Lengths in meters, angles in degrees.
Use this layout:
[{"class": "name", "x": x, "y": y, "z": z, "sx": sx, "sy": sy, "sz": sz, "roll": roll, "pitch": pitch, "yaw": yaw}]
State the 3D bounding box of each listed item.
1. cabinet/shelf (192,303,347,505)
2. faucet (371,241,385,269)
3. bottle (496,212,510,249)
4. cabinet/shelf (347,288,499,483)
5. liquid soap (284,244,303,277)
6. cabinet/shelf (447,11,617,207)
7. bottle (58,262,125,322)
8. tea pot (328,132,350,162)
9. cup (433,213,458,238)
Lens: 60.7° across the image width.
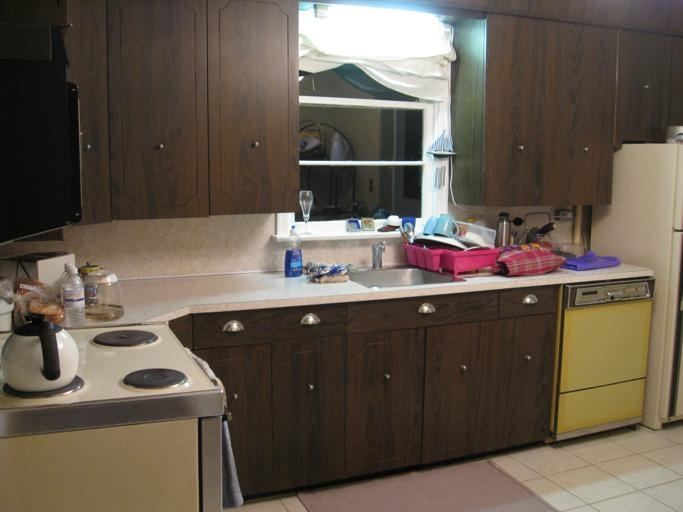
[{"class": "cabinet/shelf", "x": -0.382, "y": 0.685, "z": 3.201, "sx": 0.877, "sy": 1.119, "sz": 0.655, "roll": -6, "pitch": 20, "yaw": -21}, {"class": "faucet", "x": 0.231, "y": -0.010, "z": 3.635, "sx": 0.084, "sy": 0.162, "sz": 0.163, "roll": 1, "pitch": 12, "yaw": 3}, {"class": "bottle", "x": 1.047, "y": -0.168, "z": 3.775, "sx": 0.097, "sy": 0.224, "sz": 0.365, "roll": 4, "pitch": 13, "yaw": 16}, {"class": "cabinet/shelf", "x": 0.391, "y": 0.662, "z": 3.410, "sx": 0.969, "sy": 0.924, "sz": 0.516, "roll": -3, "pitch": 7, "yaw": -17}, {"class": "liquid soap", "x": -0.277, "y": 0.023, "z": 3.370, "sx": 0.109, "sy": 0.174, "sz": 0.158, "roll": 0, "pitch": 12, "yaw": -5}, {"class": "cabinet/shelf", "x": 1.156, "y": -0.939, "z": 3.587, "sx": 1.149, "sy": 1.327, "sz": 0.573, "roll": 0, "pitch": 6, "yaw": -11}, {"class": "bottle", "x": -1.083, "y": 0.158, "z": 2.539, "sx": 0.230, "sy": 0.224, "sz": 0.259, "roll": -6, "pitch": 14, "yaw": -30}, {"class": "tea pot", "x": -0.023, "y": -0.673, "z": 3.586, "sx": 0.086, "sy": 0.158, "sz": 0.161, "roll": 8, "pitch": 11, "yaw": 37}, {"class": "cup", "x": 0.641, "y": -0.181, "z": 3.610, "sx": 0.169, "sy": 0.155, "sz": 0.103, "roll": 12, "pitch": -4, "yaw": -34}]
